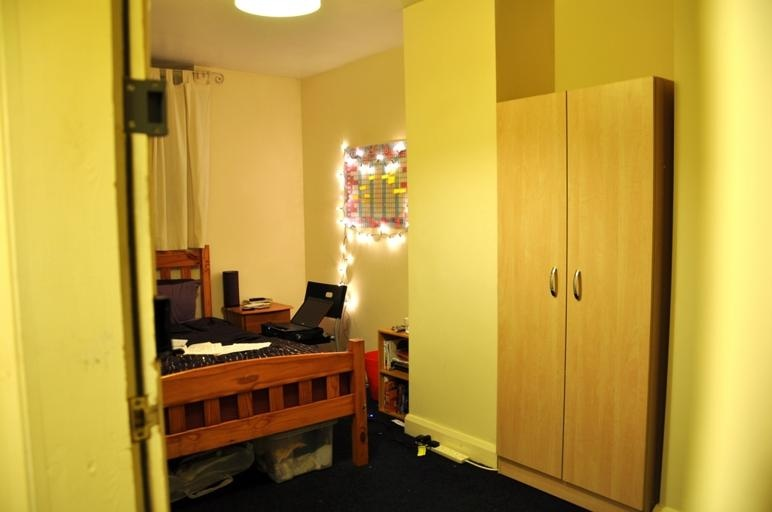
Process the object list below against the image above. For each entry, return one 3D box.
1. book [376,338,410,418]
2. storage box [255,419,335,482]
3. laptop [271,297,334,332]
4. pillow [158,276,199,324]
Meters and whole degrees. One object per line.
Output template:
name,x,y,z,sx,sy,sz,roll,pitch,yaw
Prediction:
book,0.045,0.868,4.444,0.218,0.620,0.301,-1,9,0
storage box,-0.536,1.150,3.647,0.362,0.230,0.357,-1,-3,-41
laptop,-0.678,0.482,4.965,0.325,0.142,0.307,-9,11,-41
pillow,-1.463,0.304,4.266,0.322,0.332,0.128,-1,-8,-42
